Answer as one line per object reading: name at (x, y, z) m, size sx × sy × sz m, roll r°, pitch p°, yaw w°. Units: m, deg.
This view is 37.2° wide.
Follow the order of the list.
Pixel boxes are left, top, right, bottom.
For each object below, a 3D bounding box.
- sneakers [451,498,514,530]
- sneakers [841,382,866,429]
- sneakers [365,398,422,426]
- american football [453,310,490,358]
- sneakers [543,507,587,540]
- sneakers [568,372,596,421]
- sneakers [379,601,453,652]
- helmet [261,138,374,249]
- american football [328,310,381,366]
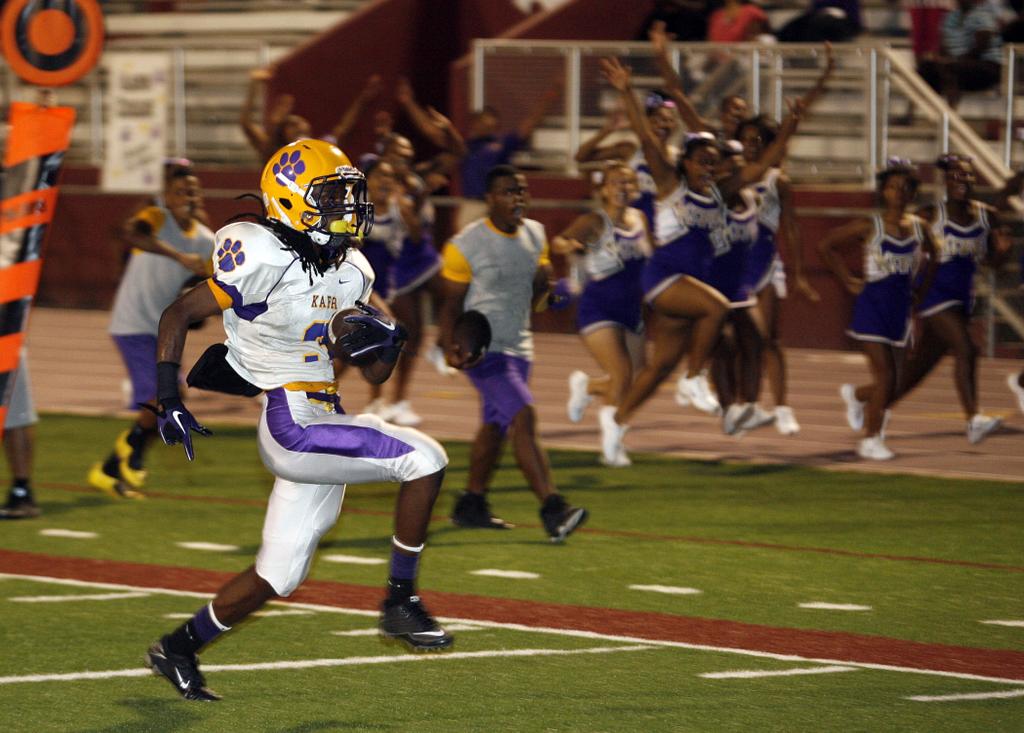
sneakers at (-0.237, 0.893, 9.259) m, size 0.513 × 0.173 × 0.147 m, roll 3°, pitch -1°, yaw -9°
sneakers at (2.709, 0.300, 11.887) m, size 0.164 × 0.376 × 0.187 m, roll -22°, pitch 27°, yaw -31°
sneakers at (-0.954, 0.365, 12.296) m, size 0.602 × 0.201 × 0.214 m, roll 4°, pitch 8°, yaw 31°
american football at (-0.245, -0.166, 8.530) m, size 0.204 × 0.270 × 0.259 m, roll 7°, pitch 38°, yaw -3°
sneakers at (0.286, 0.881, 8.601) m, size 0.306 × 0.144 × 0.119 m, roll -36°, pitch 15°, yaw 50°
sneakers at (0.532, 0.227, 11.296) m, size 0.177 × 0.324 × 0.230 m, roll 4°, pitch 4°, yaw -29°
sneakers at (-0.462, 1.178, 7.030) m, size 0.372 × 0.153 × 0.177 m, roll 14°, pitch 15°, yaw 16°
helmet at (-0.858, -0.755, 6.535) m, size 0.594 × 0.376 × 0.417 m, roll 10°, pitch 16°, yaw 14°
american football at (-0.695, -0.126, 6.616) m, size 0.271 × 0.226 × 0.207 m, roll -1°, pitch 10°, yaw -30°
